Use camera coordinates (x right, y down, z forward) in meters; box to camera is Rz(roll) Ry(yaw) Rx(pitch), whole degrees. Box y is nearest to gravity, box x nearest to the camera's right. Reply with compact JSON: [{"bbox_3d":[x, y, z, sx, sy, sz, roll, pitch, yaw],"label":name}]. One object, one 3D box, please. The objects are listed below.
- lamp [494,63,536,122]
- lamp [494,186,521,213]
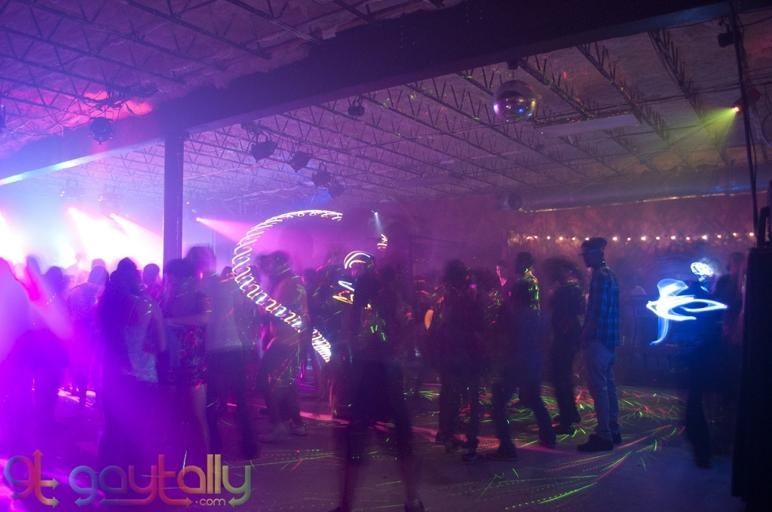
[{"bbox_3d":[2.190,-2.823,10.450,0.740,1.106,0.773,-4,3,19],"label":"lamp"},{"bbox_3d":[4.583,-2.080,22.604,0.799,0.932,1.833,-1,-5,3],"label":"lamp"}]
